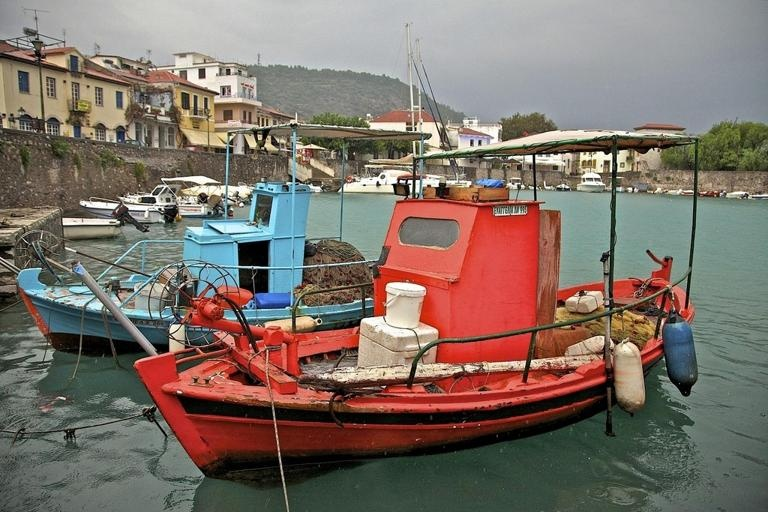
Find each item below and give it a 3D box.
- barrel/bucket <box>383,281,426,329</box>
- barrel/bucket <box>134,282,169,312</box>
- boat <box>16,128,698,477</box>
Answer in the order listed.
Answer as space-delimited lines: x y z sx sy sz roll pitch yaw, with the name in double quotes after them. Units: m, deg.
0.290 0.790 10.799 0.734 0.676 0.751 3 6 0 "barrel/bucket"
-4.435 0.818 12.725 0.774 0.520 0.776 2 5 0 "barrel/bucket"
-0.106 0.674 11.684 10.881 4.996 5.028 -1 3 -27 "boat"
